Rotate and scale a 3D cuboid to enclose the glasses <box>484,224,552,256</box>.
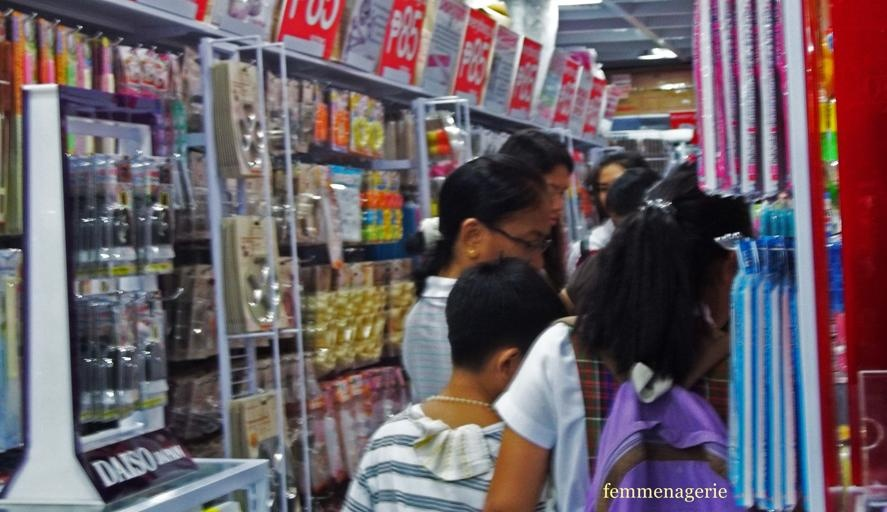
[{"bbox_3d":[0.293,-0.065,2.717,0.161,0.045,0.154,29,7,9],"label":"glasses"}]
